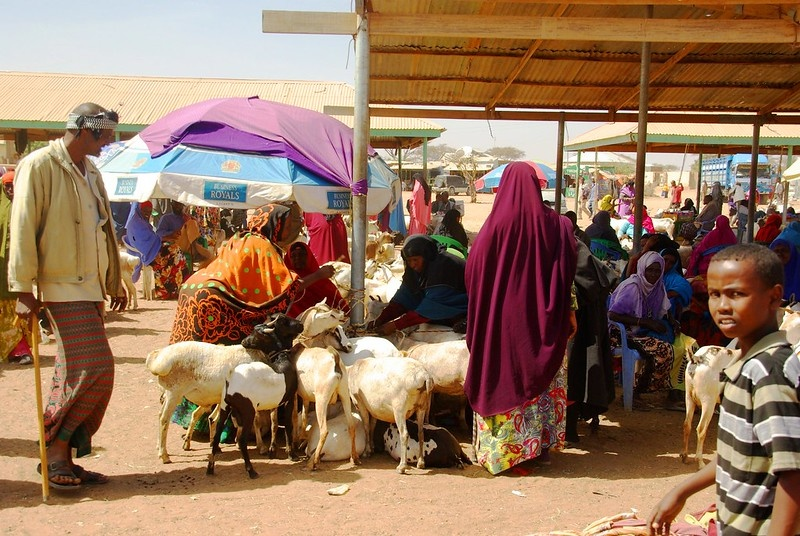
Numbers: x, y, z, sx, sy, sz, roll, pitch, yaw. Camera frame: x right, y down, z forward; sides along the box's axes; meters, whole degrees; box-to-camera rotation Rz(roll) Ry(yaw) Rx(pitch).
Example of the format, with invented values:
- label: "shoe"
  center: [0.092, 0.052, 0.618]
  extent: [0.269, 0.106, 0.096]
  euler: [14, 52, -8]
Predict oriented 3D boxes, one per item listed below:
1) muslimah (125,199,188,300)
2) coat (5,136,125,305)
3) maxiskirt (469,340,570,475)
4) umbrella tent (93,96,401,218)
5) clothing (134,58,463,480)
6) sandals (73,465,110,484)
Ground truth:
- label: "muslimah"
  center: [-4.739, -0.389, 14.378]
  extent: [1.095, 1.927, 0.795]
  euler: [-12, 5, -27]
- label: "coat"
  center: [-2.872, -0.386, 6.259]
  extent: [0.868, 1.404, 0.498]
  euler: [-3, 12, -24]
- label: "maxiskirt"
  center: [1.197, 1.264, 7.210]
  extent: [0.951, 1.274, 0.653]
  euler: [-6, 15, -15]
- label: "umbrella tent"
  center: [-1.272, -1.305, 10.389]
  extent: [4.069, 1.399, 4.478]
  euler: [3, 0, 40]
- label: "clothing"
  center: [-1.871, -0.256, 9.179]
  extent: [3.693, 4.339, 4.008]
  euler: [-10, 14, -37]
- label: "sandals"
  center: [-2.749, 1.841, 6.487]
  extent: [0.331, 0.085, 0.118]
  euler: [14, 3, -20]
